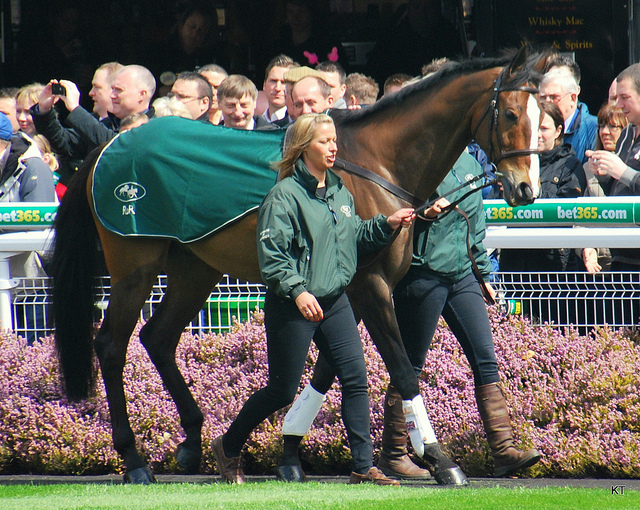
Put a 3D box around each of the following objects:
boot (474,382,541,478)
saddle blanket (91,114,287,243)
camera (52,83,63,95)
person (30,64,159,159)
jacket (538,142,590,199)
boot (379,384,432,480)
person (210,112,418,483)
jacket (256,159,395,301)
[{"bbox_3d":[1.157,1.077,11.563,0.200,0.563,0.368,-2,-17,-32],"label":"boot"},{"bbox_3d":[-0.829,-0.487,11.722,1.305,0.789,0.293,0,4,20],"label":"saddle blanket"},{"bbox_3d":[-1.780,-1.144,12.660,0.072,0.077,0.063,-3,4,-14],"label":"camera"},{"bbox_3d":[-1.588,-1.024,13.067,1.042,0.745,0.487,-4,21,-10],"label":"person"},{"bbox_3d":[1.623,-0.563,12.492,0.365,0.381,0.223,-2,-9,3],"label":"jacket"},{"bbox_3d":[0.527,1.107,11.631,0.312,0.578,0.146,2,5,41],"label":"boot"},{"bbox_3d":[-0.032,0.281,11.266,1.106,2.278,0.576,-2,4,-2],"label":"person"},{"bbox_3d":[0.019,-0.163,11.155,0.784,0.841,0.258,-4,4,-19],"label":"jacket"}]
